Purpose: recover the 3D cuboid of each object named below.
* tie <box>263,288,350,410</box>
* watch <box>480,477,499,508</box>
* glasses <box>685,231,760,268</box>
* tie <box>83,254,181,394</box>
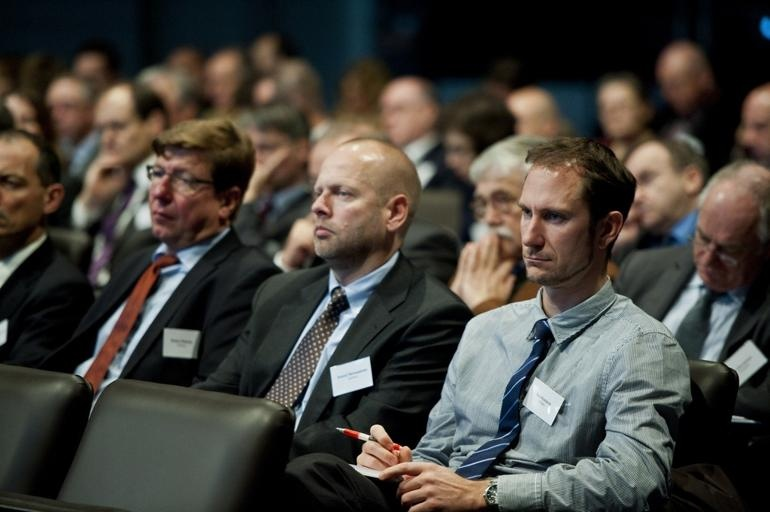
[{"bbox_3d":[-0.342,0.490,4.536,0.225,0.766,0.065,23,-13,23],"label":"tie"},{"bbox_3d":[0.424,0.967,3.774,0.073,0.101,0.037,-11,-18,26],"label":"watch"},{"bbox_3d":[1.592,-0.001,4.321,0.222,0.105,0.172,17,-12,-40],"label":"glasses"},{"bbox_3d":[-1.283,0.366,4.759,0.108,0.755,0.113,29,-21,-8],"label":"tie"}]
